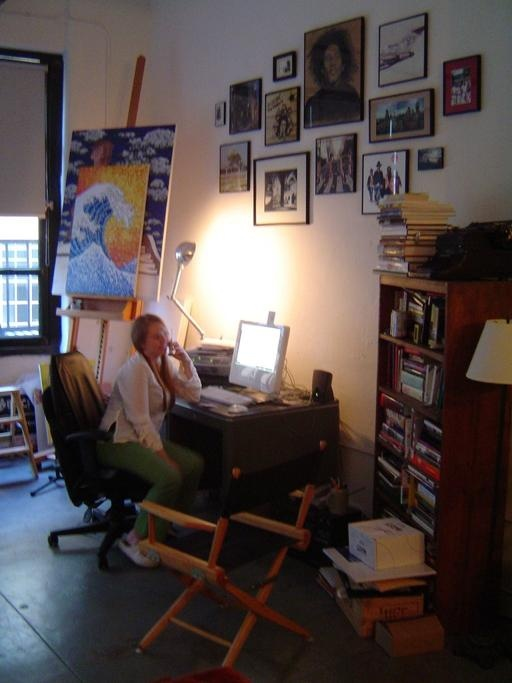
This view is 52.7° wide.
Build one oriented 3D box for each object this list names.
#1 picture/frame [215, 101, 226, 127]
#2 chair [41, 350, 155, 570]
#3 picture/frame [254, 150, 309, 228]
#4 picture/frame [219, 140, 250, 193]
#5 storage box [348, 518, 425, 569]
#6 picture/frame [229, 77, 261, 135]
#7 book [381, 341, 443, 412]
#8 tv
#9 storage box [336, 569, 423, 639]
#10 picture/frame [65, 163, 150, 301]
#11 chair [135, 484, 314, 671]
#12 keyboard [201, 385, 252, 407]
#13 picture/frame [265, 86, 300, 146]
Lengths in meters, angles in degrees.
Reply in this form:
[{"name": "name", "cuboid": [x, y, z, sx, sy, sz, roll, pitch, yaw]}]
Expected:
[{"name": "picture/frame", "cuboid": [-0.233, -1.516, 3.432, 0.023, 0.217, 0.147, -2, 7, -26]}, {"name": "chair", "cuboid": [-0.751, 0.521, 2.351, 0.406, 0.937, 0.602, -1, 3, -31]}, {"name": "picture/frame", "cuboid": [0.162, -0.912, 3.053, 0.026, 0.465, 0.397, -4, 7, -40]}, {"name": "picture/frame", "cuboid": [-0.131, -1.143, 3.351, 0.032, 0.374, 0.302, -3, 6, -35]}, {"name": "storage box", "cuboid": [0.500, 0.749, 1.931, 0.150, 0.098, 0.167, -1, 5, -12]}, {"name": "picture/frame", "cuboid": [-0.062, -1.479, 3.234, 0.046, 0.430, 0.306, -7, 11, -39]}, {"name": "book", "cuboid": [0.602, 0.139, 1.974, 0.184, 0.067, 0.140, 29, 21, 33]}, {"name": "tv", "cuboid": [0.015, 0.087, 2.776, 0.104, 0.354, 0.297, 6, 3, -34]}, {"name": "storage box", "cuboid": [0.455, 0.941, 1.872, 0.167, 0.176, 0.257, 1, -4, -17]}, {"name": "picture/frame", "cuboid": [-0.850, -0.628, 3.020, 0.596, 1.068, 0.046, 3, -4, 26]}, {"name": "chair", "cuboid": [-0.149, 0.690, 1.858, 0.524, 0.781, 0.510, 8, -2, -43]}, {"name": "keyboard", "cuboid": [-0.156, 0.279, 2.639, 0.105, 0.028, 0.165, -4, 13, -37]}, {"name": "picture/frame", "cuboid": [0.160, -1.318, 2.998, 0.046, 0.431, 0.304, -2, 5, -40]}]
